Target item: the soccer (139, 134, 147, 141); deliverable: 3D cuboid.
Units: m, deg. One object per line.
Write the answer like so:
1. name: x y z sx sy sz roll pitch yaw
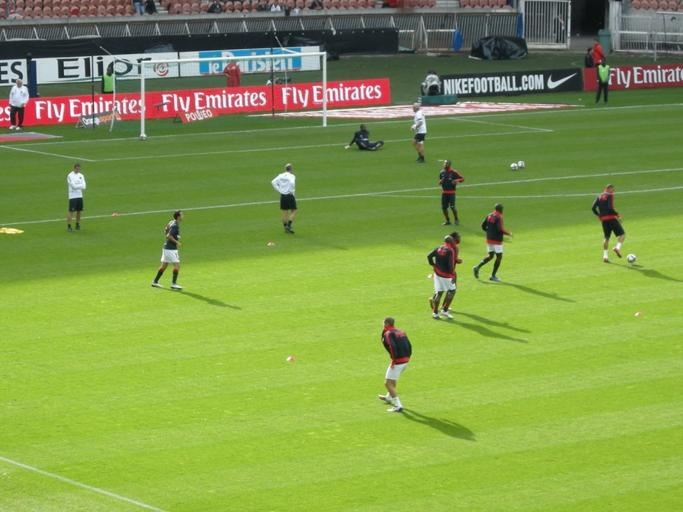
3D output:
1. soccer: -8.010 -4.803 62.996 0.314 0.310 0.289 -1 12 -4

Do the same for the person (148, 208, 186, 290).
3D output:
1. person: -5.308 -0.097 47.535 1.560 2.996 1.137 -6 33 -20

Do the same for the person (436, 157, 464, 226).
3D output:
1. person: 3.600 -2.048 51.057 0.945 2.103 0.924 -1 -3 22

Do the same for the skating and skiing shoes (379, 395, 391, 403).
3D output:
1. skating and skiing shoes: 1.131 3.662 39.715 0.340 0.139 0.125 24 17 39

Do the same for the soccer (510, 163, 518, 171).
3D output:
1. soccer: 6.470 -3.327 58.108 0.303 0.210 0.271 2 17 -30

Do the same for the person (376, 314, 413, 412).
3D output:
1. person: 1.363 2.735 39.503 1.138 2.047 1.212 7 21 -2

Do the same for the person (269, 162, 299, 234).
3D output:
1. person: -1.816 -1.820 50.313 0.968 2.176 0.791 2 7 16

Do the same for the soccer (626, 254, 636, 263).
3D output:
1. soccer: 8.868 0.094 47.500 0.232 0.202 0.265 -2 2 -5

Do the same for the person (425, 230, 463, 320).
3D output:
1. person: 2.925 0.539 43.833 0.907 2.453 1.121 -3 9 2
